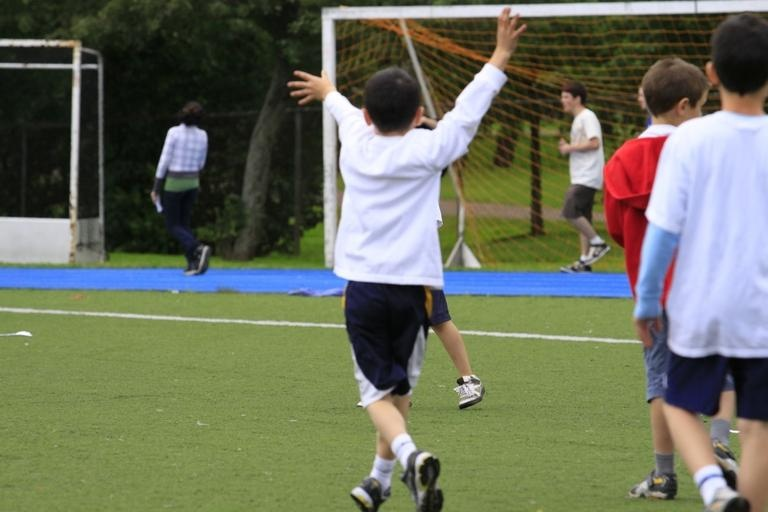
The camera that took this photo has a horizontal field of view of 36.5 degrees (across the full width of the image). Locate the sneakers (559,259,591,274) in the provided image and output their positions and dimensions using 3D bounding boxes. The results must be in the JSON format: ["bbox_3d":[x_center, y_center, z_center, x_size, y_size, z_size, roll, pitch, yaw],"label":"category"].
[{"bbox_3d":[2.292,0.121,13.918,0.359,0.161,0.144,2,-1,4],"label":"sneakers"}]

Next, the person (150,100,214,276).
[{"bbox_3d":[-2.359,-0.766,13.542,0.606,2.037,0.615,-2,9,-11],"label":"person"}]

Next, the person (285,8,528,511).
[{"bbox_3d":[0.106,0.168,6.732,1.040,2.525,1.262,-2,9,-11],"label":"person"}]

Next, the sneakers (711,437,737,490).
[{"bbox_3d":[1.887,1.150,6.464,0.111,0.156,0.344,-2,25,6],"label":"sneakers"}]

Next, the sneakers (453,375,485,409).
[{"bbox_3d":[0.573,0.930,7.987,0.113,0.188,0.305,-27,-3,-32],"label":"sneakers"}]

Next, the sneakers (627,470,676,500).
[{"bbox_3d":[1.566,1.343,6.792,0.283,0.146,0.130,1,-8,11],"label":"sneakers"}]

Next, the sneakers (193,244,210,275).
[{"bbox_3d":[-2.121,0.028,13.517,0.166,0.395,0.135,13,37,12],"label":"sneakers"}]
